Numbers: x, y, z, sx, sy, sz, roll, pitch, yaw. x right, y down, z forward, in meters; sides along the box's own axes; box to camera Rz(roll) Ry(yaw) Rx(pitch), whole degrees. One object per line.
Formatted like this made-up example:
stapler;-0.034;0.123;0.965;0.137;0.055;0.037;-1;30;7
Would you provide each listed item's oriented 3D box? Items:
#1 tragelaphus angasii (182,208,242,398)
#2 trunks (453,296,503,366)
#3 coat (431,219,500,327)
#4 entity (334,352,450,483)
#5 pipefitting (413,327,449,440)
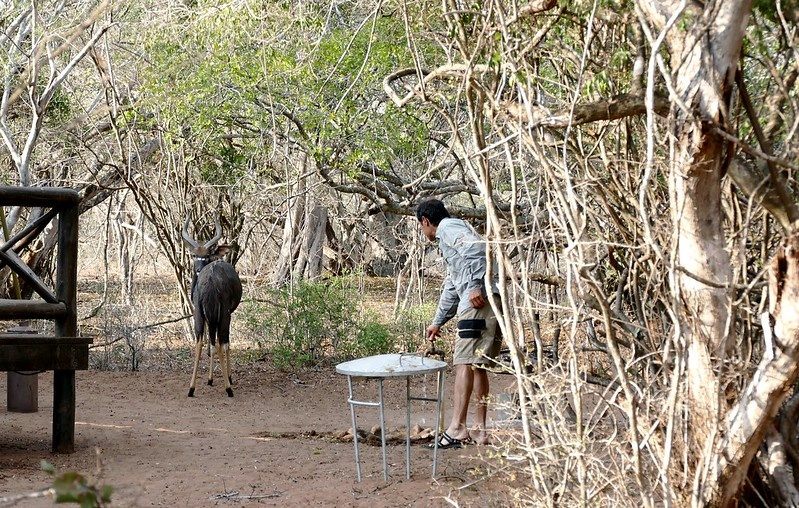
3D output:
tragelaphus angasii;-3.011;0.770;12.589;0.902;2.913;3.291;-1;4;-15
trunks;0.833;0.798;8.234;0.571;0.798;0.471;1;-1;-3
coat;0.671;0.170;8.383;0.617;1.217;0.654;0;-1;-17
entity;-0.082;1.622;7.585;0.963;1.137;1.056;-3;-1;7
pipefitting;0.314;1.331;7.680;0.307;1.074;0.225;3;-2;-23
